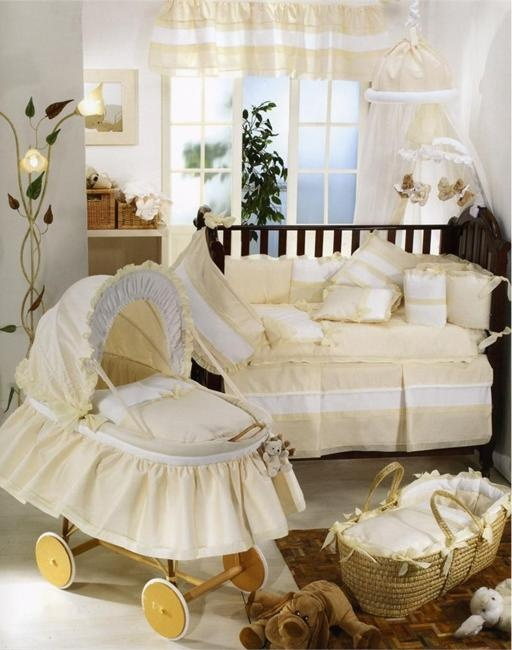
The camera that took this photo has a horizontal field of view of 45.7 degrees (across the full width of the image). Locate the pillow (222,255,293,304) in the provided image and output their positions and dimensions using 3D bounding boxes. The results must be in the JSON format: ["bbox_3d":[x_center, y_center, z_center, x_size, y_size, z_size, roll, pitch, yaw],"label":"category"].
[{"bbox_3d":[0.006,-0.236,3.235,0.295,0.189,0.039,1,4,-8],"label":"pillow"}]

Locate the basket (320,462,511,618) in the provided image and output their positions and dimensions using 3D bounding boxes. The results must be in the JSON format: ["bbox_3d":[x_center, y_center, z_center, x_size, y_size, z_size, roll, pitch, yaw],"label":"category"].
[{"bbox_3d":[0.523,0.625,1.924,0.570,0.324,0.414,-11,11,-39],"label":"basket"}]

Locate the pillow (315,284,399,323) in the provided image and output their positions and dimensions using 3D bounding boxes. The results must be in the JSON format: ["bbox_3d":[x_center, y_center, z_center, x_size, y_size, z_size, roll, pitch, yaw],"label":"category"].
[{"bbox_3d":[0.473,-0.093,2.893,0.249,0.068,0.252,4,37,22],"label":"pillow"}]

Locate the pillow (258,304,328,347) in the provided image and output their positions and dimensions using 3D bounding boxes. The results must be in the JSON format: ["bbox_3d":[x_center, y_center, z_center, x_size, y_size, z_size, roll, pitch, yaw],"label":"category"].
[{"bbox_3d":[0.156,0.007,2.658,0.200,0.036,0.206,0,31,-18],"label":"pillow"}]

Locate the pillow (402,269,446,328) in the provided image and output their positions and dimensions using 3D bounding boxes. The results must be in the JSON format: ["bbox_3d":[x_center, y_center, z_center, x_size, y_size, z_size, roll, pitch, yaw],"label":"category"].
[{"bbox_3d":[0.770,-0.119,2.753,0.170,0.293,0.232,6,-10,-41],"label":"pillow"}]

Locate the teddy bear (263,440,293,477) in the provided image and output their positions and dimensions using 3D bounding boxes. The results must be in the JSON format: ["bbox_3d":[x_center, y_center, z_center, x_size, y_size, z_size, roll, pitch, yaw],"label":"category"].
[{"bbox_3d":[0.057,0.375,1.695,0.070,0.132,0.128,2,9,10],"label":"teddy bear"}]

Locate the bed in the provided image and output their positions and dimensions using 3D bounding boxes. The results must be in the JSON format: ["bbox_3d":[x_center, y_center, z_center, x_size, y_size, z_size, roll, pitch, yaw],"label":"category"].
[{"bbox_3d":[0.453,0.090,2.669,1.336,1.278,0.733,-1,6,-10],"label":"bed"}]

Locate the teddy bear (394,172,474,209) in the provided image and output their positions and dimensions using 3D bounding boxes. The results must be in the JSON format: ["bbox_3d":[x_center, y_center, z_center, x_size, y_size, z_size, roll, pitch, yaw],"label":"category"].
[{"bbox_3d":[0.918,-0.680,3.116,0.324,0.197,0.156,14,-30,20],"label":"teddy bear"}]

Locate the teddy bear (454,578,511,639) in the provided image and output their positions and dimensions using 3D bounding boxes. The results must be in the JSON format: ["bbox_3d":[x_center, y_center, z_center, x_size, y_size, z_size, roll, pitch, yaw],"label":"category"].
[{"bbox_3d":[0.664,0.805,1.732,0.195,0.064,0.107,-32,34,-13],"label":"teddy bear"}]

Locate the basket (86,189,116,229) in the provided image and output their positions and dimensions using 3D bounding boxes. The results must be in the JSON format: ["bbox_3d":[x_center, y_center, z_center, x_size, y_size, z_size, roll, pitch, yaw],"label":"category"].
[{"bbox_3d":[-0.889,-0.662,3.621,0.212,0.262,0.270,-1,6,-5],"label":"basket"}]

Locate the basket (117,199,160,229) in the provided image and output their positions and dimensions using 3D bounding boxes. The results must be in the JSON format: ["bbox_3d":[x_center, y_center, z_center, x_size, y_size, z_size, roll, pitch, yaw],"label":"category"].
[{"bbox_3d":[-0.696,-0.648,3.577,0.186,0.114,0.185,0,8,-3],"label":"basket"}]
